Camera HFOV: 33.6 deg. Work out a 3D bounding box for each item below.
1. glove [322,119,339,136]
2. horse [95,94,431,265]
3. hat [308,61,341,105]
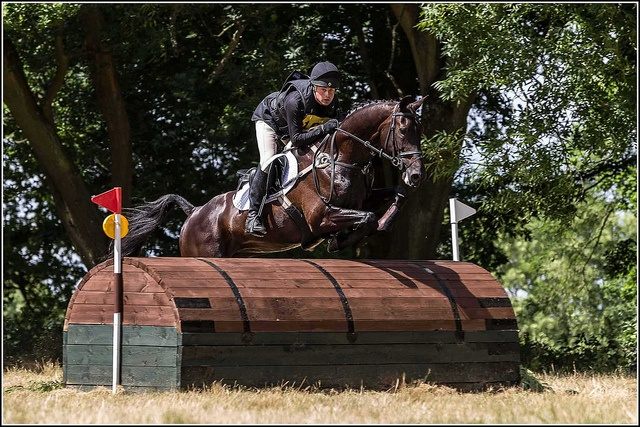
[{"bbox_3d":[0.162,-1.267,15.495,0.245,0.203,0.147,-5,11,-20],"label":"glove"},{"bbox_3d":[-0.474,-0.474,16.094,4.414,2.590,0.952,5,12,32],"label":"horse"},{"bbox_3d":[0.093,-1.932,15.602,0.473,0.590,0.524,2,7,-15],"label":"hat"}]
